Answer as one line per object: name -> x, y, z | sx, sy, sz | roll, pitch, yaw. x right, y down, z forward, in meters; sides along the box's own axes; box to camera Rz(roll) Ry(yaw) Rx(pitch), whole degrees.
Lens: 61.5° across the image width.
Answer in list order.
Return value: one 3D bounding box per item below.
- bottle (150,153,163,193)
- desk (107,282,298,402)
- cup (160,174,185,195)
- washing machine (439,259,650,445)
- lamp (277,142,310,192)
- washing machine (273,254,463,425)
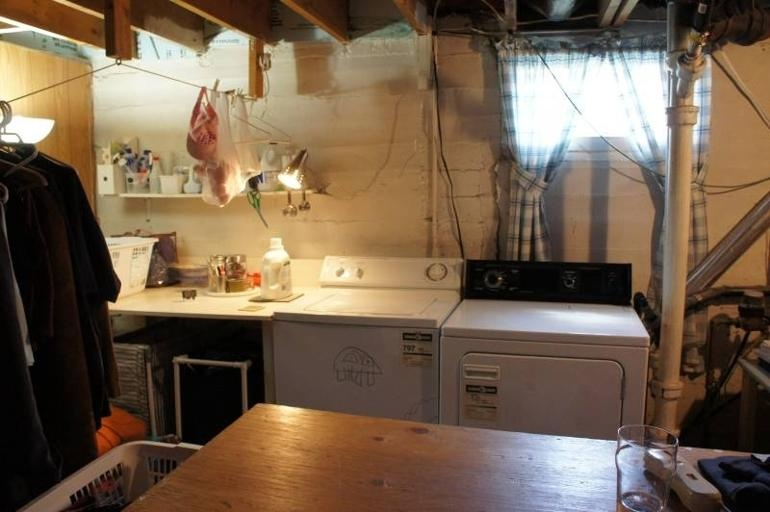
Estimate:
bottle -> -1.560, -0.560, 4.392 | 0.089, 0.286, 0.252 | -4, 5, -18
desk -> -1.049, 0.508, 3.910 | 1.143, 0.579, 0.628 | -2, 4, 14
cup -> -1.415, -0.468, 4.288 | 0.145, 0.105, 0.144 | -1, 2, 0
washing machine -> 0.803, 0.497, 3.252 | 0.898, 1.232, 0.645 | 2, 5, 18
lamp -> -0.578, -0.558, 4.154 | 0.162, 0.282, 0.312 | -1, 5, 27
washing machine -> 0.002, 0.442, 3.741 | 1.098, 1.138, 0.854 | 1, 3, 20
